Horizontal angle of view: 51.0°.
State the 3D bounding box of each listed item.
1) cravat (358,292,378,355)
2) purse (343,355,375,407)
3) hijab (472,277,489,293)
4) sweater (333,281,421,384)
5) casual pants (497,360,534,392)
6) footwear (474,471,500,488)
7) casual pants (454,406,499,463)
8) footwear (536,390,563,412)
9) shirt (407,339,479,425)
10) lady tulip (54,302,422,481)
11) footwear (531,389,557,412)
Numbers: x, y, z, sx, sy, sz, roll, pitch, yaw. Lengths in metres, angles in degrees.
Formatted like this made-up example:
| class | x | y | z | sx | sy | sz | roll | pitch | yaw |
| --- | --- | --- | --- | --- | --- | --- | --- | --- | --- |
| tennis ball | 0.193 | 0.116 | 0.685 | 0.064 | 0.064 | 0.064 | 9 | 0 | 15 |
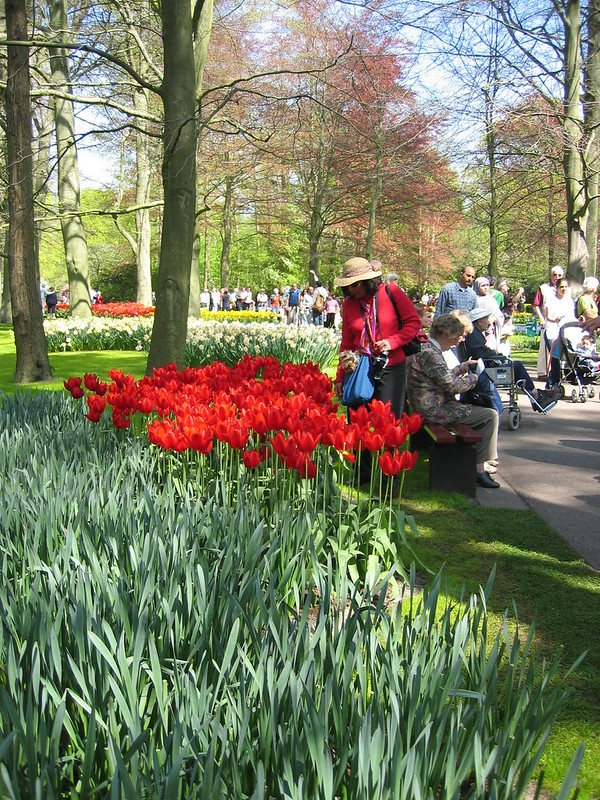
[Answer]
| class | x | y | z | sx | sy | sz | roll | pitch | yaw |
| --- | --- | --- | --- | --- | --- | --- | --- | --- | --- |
| cravat | 0.551 | -0.584 | 4.870 | 0.134 | 0.449 | 0.085 | 11 | -28 | -23 |
| purse | 0.451 | -0.157 | 4.767 | 0.177 | 0.483 | 0.369 | 2 | -1 | -25 |
| hijab | 2.605 | -1.653 | 9.059 | 0.231 | 0.309 | 0.237 | -2 | 5 | -7 |
| sweater | 0.600 | -0.533 | 4.939 | 0.673 | 0.711 | 0.396 | -6 | 5 | 24 |
| casual pants | 2.795 | -0.346 | 8.037 | 0.497 | 0.509 | 0.295 | -1 | 20 | 3 |
| footwear | 1.572 | 0.662 | 5.399 | 0.091 | 0.115 | 0.272 | 1 | 6 | -33 |
| casual pants | 1.558 | 0.260 | 5.387 | 0.424 | 0.471 | 0.444 | 3 | 10 | 7 |
| footwear | 3.547 | -0.005 | 8.986 | 0.412 | 0.192 | 0.120 | -40 | 25 | -31 |
| shirt | 1.229 | -0.171 | 5.436 | 0.547 | 0.767 | 0.635 | 2 | 9 | 20 |
| lady tulip | -0.413 | 0.003 | 3.492 | 1.700 | 0.786 | 1.406 | 6 | 4 | 36 |
| footwear | 3.399 | -0.015 | 8.787 | 0.372 | 0.268 | 0.119 | -33 | 27 | -25 |
